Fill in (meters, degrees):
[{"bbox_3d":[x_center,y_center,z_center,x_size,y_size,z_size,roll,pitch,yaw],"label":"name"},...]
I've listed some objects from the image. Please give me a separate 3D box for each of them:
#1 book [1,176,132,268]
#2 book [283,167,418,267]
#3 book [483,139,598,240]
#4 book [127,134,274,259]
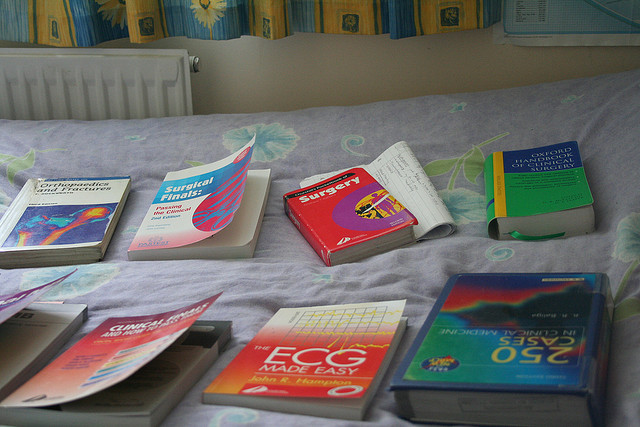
[{"bbox_3d":[-0.574,0.008,0.967,0.237,0.136,0.256,-6,20,-1],"label":"book"},{"bbox_3d":[0.059,-0.001,0.951,0.222,0.050,0.235,-19,45,-9],"label":"book"},{"bbox_3d":[0.463,-0.053,0.921,0.217,0.067,0.229,0,45,26],"label":"book"},{"bbox_3d":[-0.249,-0.033,0.954,0.260,0.082,0.279,-1,43,4],"label":"book"}]
